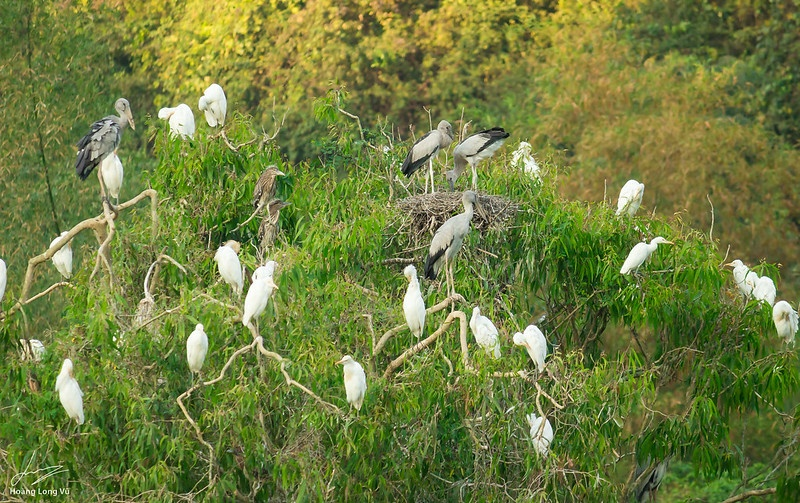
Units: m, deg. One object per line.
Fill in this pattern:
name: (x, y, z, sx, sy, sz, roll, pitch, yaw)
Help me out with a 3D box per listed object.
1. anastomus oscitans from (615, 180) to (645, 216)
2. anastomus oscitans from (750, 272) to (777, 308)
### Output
anastomus oscitans: (3.429, -0.745, 17.883, 0.356, 0.571, 0.656, 2, 24, 12)
anastomus oscitans: (5.264, 0.581, 17.284, 0.291, 0.456, 0.184, -3, -9, -9)
